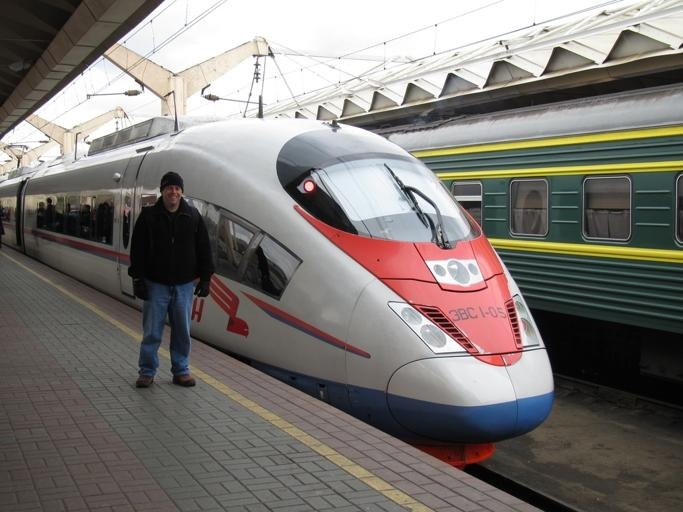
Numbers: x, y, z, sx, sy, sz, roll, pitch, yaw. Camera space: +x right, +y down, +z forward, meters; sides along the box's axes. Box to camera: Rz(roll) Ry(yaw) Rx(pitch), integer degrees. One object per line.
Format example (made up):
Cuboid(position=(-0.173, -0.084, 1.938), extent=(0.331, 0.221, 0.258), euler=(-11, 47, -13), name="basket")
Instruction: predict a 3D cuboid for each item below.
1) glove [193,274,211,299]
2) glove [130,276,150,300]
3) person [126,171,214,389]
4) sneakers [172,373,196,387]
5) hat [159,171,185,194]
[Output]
Cuboid(position=(-1.346, 0.311, 4.575), extent=(0.223, 0.238, 0.106), euler=(6, -1, 38), name="glove")
Cuboid(position=(-1.897, 0.317, 4.327), extent=(0.170, 0.188, 0.096), euler=(-2, 6, 45), name="glove")
Cuboid(position=(-1.668, 0.239, 4.466), extent=(0.777, 2.106, 0.343), euler=(3, 2, -13), name="person")
Cuboid(position=(-1.565, 1.245, 4.515), extent=(0.105, 0.091, 0.271), euler=(2, -5, -41), name="sneakers")
Cuboid(position=(-1.651, -0.725, 4.424), extent=(0.185, 0.203, 0.239), euler=(3, 2, -15), name="hat")
